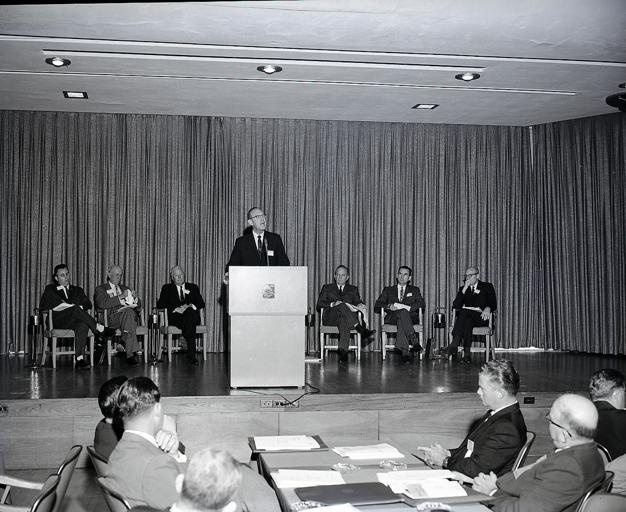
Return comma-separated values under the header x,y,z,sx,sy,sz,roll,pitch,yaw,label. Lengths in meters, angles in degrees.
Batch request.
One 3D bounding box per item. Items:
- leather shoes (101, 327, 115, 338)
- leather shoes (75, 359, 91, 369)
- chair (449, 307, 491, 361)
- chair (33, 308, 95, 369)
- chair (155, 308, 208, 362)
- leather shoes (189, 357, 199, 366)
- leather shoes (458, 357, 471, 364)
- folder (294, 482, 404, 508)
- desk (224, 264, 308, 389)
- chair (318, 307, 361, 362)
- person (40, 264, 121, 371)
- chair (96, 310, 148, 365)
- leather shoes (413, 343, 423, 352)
x,y,z,sx,sy,sz,roll,pitch,yaw,label
-2.521,0.941,7.282,0.124,0.097,0.139,5,-8,-33,leather shoes
-2.718,1.289,7.042,0.150,0.132,0.115,5,-9,26,leather shoes
2.119,1.033,7.947,0.471,0.672,0.557,-3,-6,26,chair
-3.063,1.007,7.286,0.647,0.978,0.609,5,-10,-36,chair
-1.878,1.083,7.920,0.656,0.982,0.697,4,-15,-21,chair
-1.481,1.313,7.377,0.062,0.059,0.139,2,2,-3,leather shoes
1.977,1.361,7.689,0.167,0.065,0.062,2,-1,30,leather shoes
0.143,0.993,2.460,0.407,0.038,0.231,1,-6,-17,folder
-0.403,0.591,5.360,0.689,1.052,0.584,0,5,-5,desk
0.339,1.034,7.873,0.627,0.987,0.622,2,-22,1,chair
-2.968,0.831,7.515,0.980,1.475,0.826,-36,-28,34,person
-2.453,1.040,7.534,0.492,0.869,0.621,7,-18,-38,chair
1.394,1.211,7.857,0.111,0.102,0.111,0,0,-8,leather shoes
